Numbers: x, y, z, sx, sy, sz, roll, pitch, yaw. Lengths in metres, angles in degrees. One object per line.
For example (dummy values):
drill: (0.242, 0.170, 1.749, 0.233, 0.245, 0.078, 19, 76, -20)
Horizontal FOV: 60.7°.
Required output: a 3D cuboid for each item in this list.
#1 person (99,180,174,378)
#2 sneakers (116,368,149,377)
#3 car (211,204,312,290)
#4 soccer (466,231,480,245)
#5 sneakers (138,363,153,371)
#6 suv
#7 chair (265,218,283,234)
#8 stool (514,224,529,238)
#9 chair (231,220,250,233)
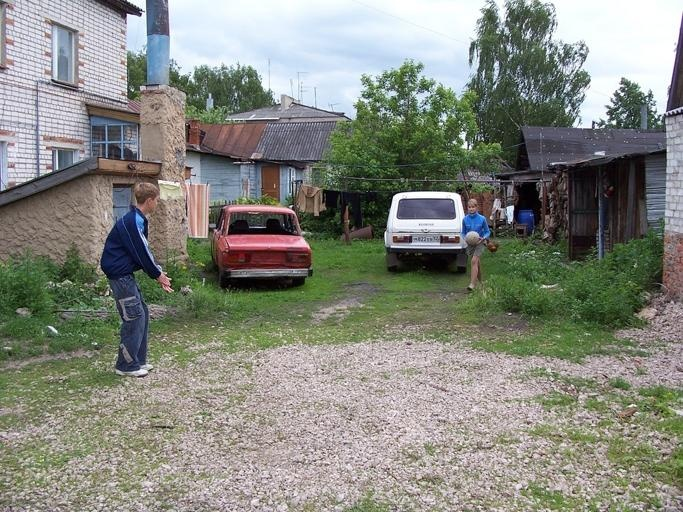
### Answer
person: (-2.429, 0.289, 6.947, 0.740, 2.233, 0.600, 3, 10, 15)
sneakers: (-2.476, 1.382, 6.884, 0.313, 0.150, 0.129, -2, 1, -1)
car: (-1.832, -0.290, 12.961, 1.299, 1.067, 2.791, 0, 11, -12)
soccer: (2.585, -0.336, 11.548, 0.274, 0.261, 0.262, 10, 53, 16)
sneakers: (-2.343, 1.339, 7.009, 0.142, 0.069, 0.053, -3, 12, -25)
suv: (2.076, -0.779, 14.870, 1.340, 1.234, 2.600, 0, 11, 2)
chair: (-1.557, -0.679, 13.365, 0.309, 0.338, 0.325, 1, 4, -26)
stool: (6.733, -0.911, 21.961, 0.441, 0.545, 0.466, 1, -1, 3)
chair: (-2.308, -0.629, 13.180, 0.307, 0.227, 0.321, 0, 10, 1)
